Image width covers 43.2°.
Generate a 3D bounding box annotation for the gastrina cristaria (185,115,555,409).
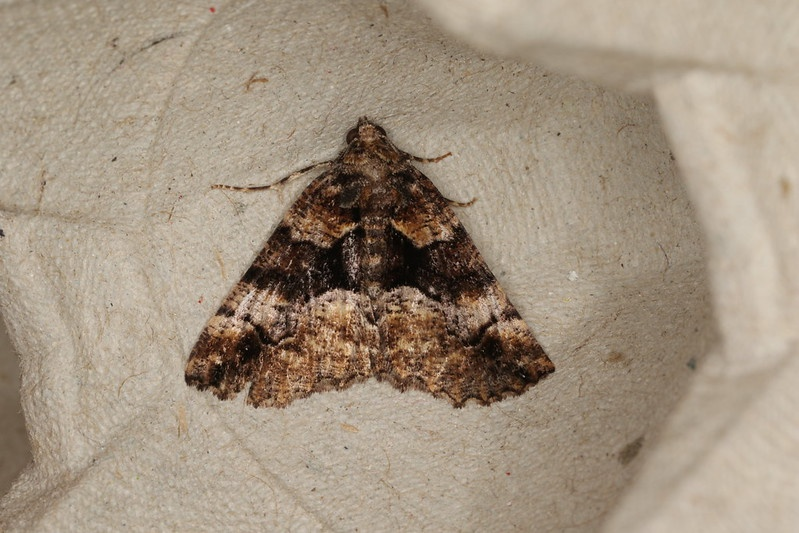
[{"bbox_3d":[-0.081,-0.034,4.109,1.409,1.344,0.392,-5,6,-15],"label":"gastrina cristaria"}]
